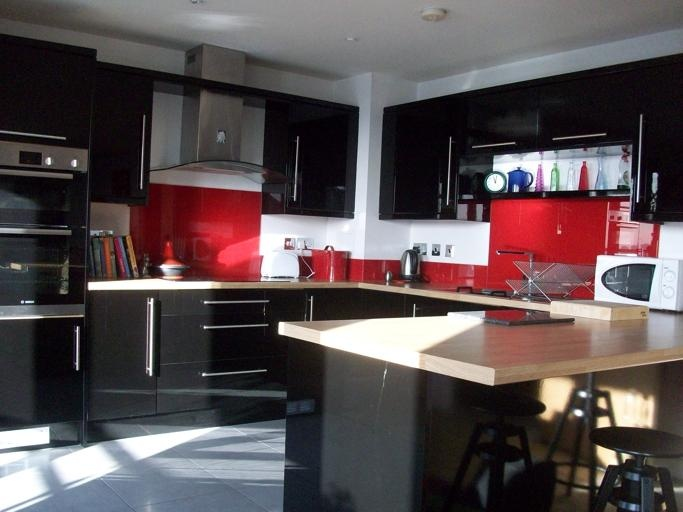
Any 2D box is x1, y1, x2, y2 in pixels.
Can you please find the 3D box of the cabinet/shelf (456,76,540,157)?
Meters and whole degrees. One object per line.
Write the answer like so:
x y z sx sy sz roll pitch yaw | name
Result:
1.202 -1.041 4.254 0.222 0.569 0.675 1 0 -42 | cabinet/shelf

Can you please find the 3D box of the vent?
-0.996 -1.046 4.367 0.827 0.781 0.790 0 15 -27 | vent

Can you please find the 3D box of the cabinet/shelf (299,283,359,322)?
-0.054 0.410 4.628 0.432 0.286 0.262 -2 -7 9 | cabinet/shelf

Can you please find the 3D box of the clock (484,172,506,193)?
1.234 -0.591 4.474 0.051 0.167 0.192 -1 6 -41 | clock

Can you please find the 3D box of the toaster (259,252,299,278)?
-0.492 0.076 4.595 0.244 0.181 0.236 -1 4 -23 | toaster

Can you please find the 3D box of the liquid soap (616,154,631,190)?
1.940 -0.578 3.817 0.066 0.248 0.124 4 5 23 | liquid soap

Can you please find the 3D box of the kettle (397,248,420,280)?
0.626 0.096 5.045 0.174 0.303 0.215 1 -7 9 | kettle

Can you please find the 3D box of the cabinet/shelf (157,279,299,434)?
-0.841 0.731 4.314 1.097 1.018 0.553 0 5 -12 | cabinet/shelf

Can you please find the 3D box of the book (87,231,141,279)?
-1.638 0.011 3.950 0.294 0.389 0.391 -1 3 -24 | book

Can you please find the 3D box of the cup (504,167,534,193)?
1.397 -0.599 4.382 0.152 0.210 0.167 3 4 0 | cup

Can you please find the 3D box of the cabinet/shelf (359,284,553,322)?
0.798 0.367 4.146 0.235 0.261 1.633 -2 6 -44 | cabinet/shelf

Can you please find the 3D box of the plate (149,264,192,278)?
-1.325 0.111 4.263 0.269 0.128 0.442 1 5 -20 | plate

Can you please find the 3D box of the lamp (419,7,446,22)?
0.605 -1.577 3.620 0.167 0.039 0.137 3 5 10 | lamp

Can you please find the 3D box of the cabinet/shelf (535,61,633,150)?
1.744 -0.980 3.944 0.697 0.503 0.382 3 1 39 | cabinet/shelf

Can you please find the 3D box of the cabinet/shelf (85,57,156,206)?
-1.549 -0.854 3.930 0.394 0.965 0.135 1 4 -20 | cabinet/shelf
